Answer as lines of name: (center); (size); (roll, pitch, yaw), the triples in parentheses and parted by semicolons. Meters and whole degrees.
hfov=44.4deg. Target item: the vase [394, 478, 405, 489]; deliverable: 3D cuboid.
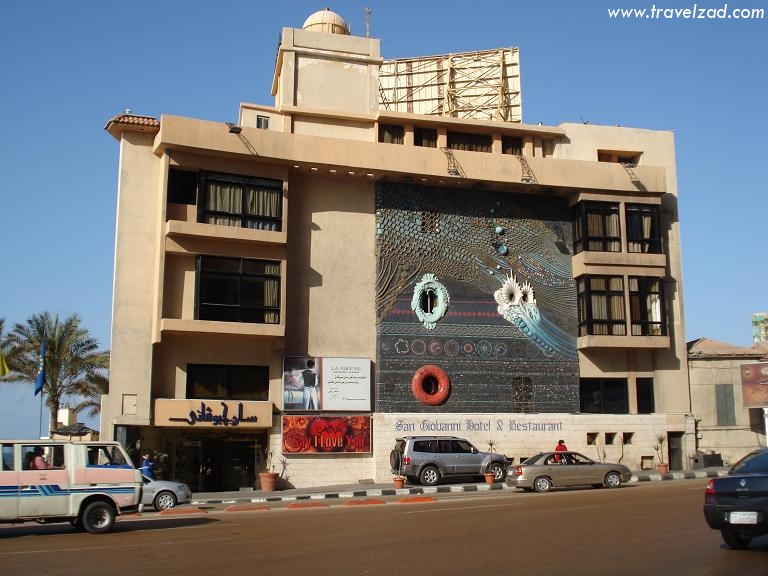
vase: (0.632, 8.172, 39.196); (0.438, 0.330, 0.451); (-10, -14, 42)

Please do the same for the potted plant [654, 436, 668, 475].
potted plant: (12.935, 7.816, 43.933); (0.571, 1.488, 3.749); (-2, -2, 16)

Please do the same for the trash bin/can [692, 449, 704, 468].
trash bin/can: (15.224, 8.320, 45.301); (0.642, 0.611, 0.577); (4, -9, -29)

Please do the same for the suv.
suv: (2.789, 7.314, 39.895); (4.600, 1.927, 2.081); (-1, -5, -15)

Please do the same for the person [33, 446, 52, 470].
person: (-9.784, 4.944, 26.847); (0.511, 0.758, 0.885); (-2, 0, -13)
